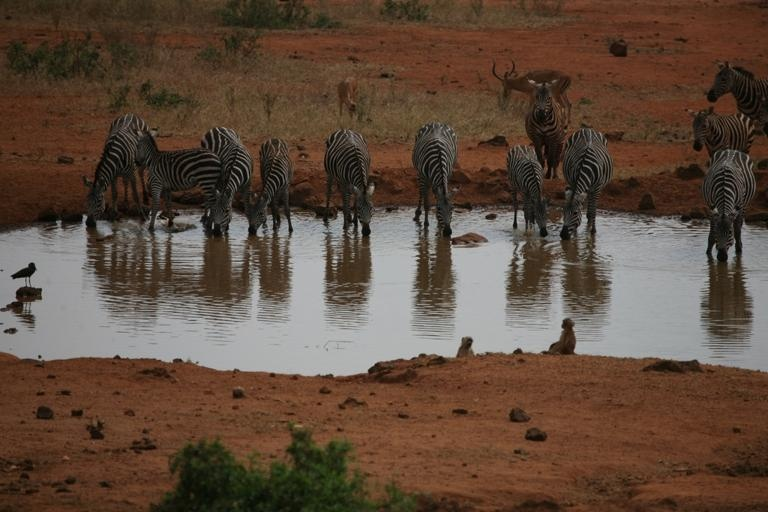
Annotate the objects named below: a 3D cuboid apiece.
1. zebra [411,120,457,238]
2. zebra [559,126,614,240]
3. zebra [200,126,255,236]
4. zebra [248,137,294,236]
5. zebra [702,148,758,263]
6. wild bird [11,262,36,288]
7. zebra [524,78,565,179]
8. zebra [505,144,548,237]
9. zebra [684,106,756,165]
[{"bbox_3d":[1.373,-2.136,40.262,1.125,3.095,2.743,0,3,0],"label":"zebra"},{"bbox_3d":[5.584,-1.839,40.184,1.682,3.268,3.023,3,3,11],"label":"zebra"},{"bbox_3d":[-4.613,-2.223,40.029,1.020,1.832,3.760,-4,33,-9],"label":"zebra"},{"bbox_3d":[-3.149,-1.883,40.232,1.200,2.624,2.511,-1,3,-3],"label":"zebra"},{"bbox_3d":[8.859,-1.278,37.563,1.089,2.805,1.859,1,3,23],"label":"zebra"},{"bbox_3d":[-8.791,0.453,35.450,0.792,0.710,0.374,4,8,31],"label":"wild bird"},{"bbox_3d":[4.883,-3.511,44.064,1.228,2.887,4.395,2,-2,10],"label":"zebra"},{"bbox_3d":[4.539,-1.773,39.774,1.227,2.444,2.714,3,2,4],"label":"zebra"},{"bbox_3d":[10.274,-3.225,42.547,0.865,1.600,2.580,-3,9,-41],"label":"zebra"}]
